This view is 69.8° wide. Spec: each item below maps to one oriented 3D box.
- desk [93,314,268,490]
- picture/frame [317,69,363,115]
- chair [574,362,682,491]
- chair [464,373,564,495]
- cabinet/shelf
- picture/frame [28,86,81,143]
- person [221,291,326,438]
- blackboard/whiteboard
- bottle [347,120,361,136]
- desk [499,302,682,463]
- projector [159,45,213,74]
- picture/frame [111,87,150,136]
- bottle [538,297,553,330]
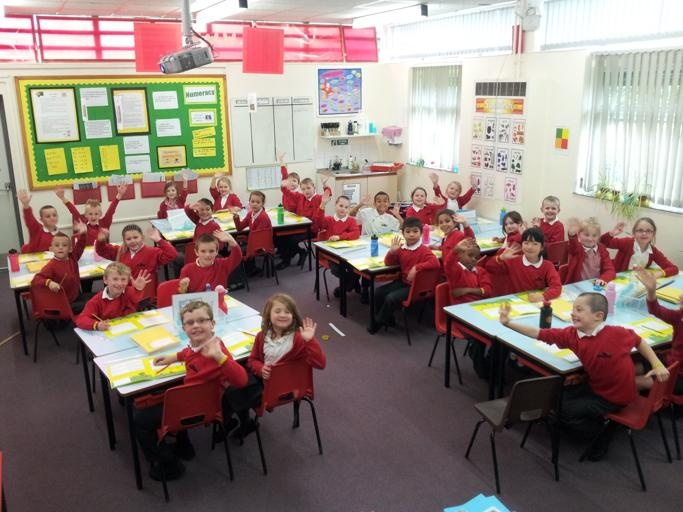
[{"bbox_3d":[-1.450,1.297,4.225,1.338,1.039,1.060,-10,20,-29],"label":"desk"},{"bbox_3d":[-0.067,-3.390,10.010,0.840,0.762,0.082,-9,18,-20],"label":"picture/frame"},{"bbox_3d":[2.214,1.336,3.825,0.548,1.018,0.635,-17,25,-32],"label":"chair"},{"bbox_3d":[1.382,1.242,3.839,0.741,0.878,0.534,-6,14,-14],"label":"chair"},{"bbox_3d":[0.480,-1.464,10.028,1.932,1.439,1.042,-6,14,-24],"label":"cabinet/shelf"},{"bbox_3d":[-4.759,-2.353,8.055,0.797,1.095,0.048,-12,16,-39],"label":"picture/frame"},{"bbox_3d":[-0.508,0.852,3.873,0.828,1.079,0.635,8,6,-3],"label":"person"},{"bbox_3d":[-1.416,-2.461,9.566,1.443,1.088,0.110,-6,14,-27],"label":"blackboard/whiteboard"},{"bbox_3d":[0.265,-2.686,10.229,0.287,0.300,0.131,-6,14,-16],"label":"bottle"},{"bbox_3d":[2.080,0.760,4.496,1.443,1.959,0.984,-4,8,-5],"label":"desk"},{"bbox_3d":[-1.883,-2.431,6.062,0.493,0.184,0.372,-17,21,-31],"label":"projector"},{"bbox_3d":[-3.710,-2.546,8.540,0.712,0.974,0.070,-9,16,-34],"label":"picture/frame"},{"bbox_3d":[1.761,0.504,4.234,0.118,0.295,0.122,-2,21,1],"label":"bottle"}]
